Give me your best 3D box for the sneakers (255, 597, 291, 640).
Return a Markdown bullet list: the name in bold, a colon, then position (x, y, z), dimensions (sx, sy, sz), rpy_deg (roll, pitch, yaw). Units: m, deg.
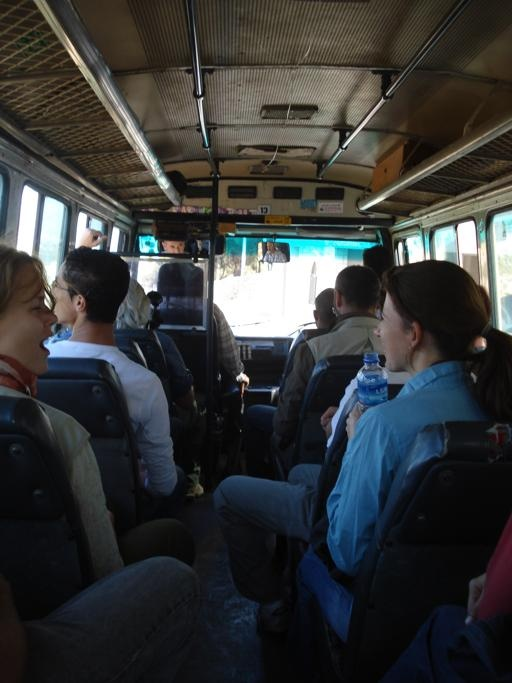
- **sneakers**: position (0.068, 1.287, 2.350), dimensions (0.144, 0.164, 0.169), rpy_deg (-1, -8, -9)
